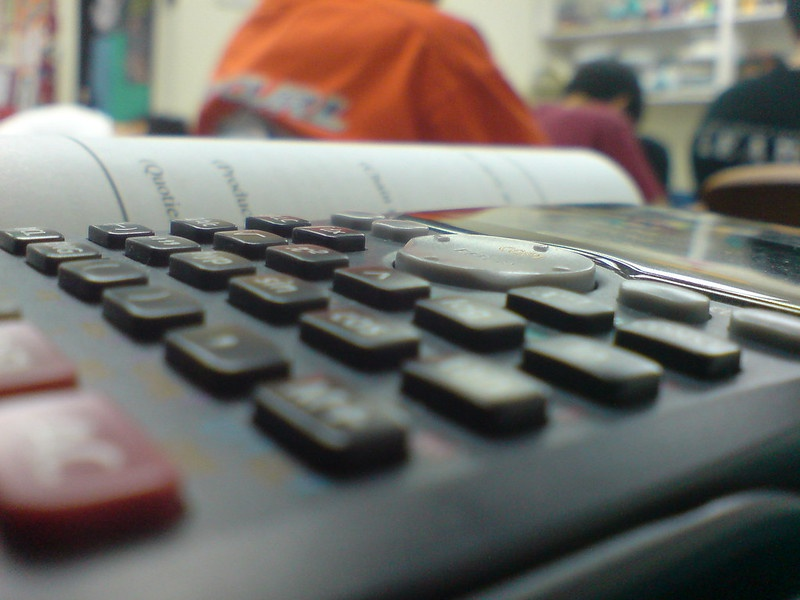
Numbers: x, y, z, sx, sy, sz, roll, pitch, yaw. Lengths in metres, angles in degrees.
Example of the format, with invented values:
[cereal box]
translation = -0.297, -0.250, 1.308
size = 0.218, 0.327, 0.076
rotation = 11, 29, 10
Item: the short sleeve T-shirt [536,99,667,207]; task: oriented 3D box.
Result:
[short sleeve T-shirt]
translation = 0.362, -0.261, 1.046
size = 0.228, 0.160, 0.200
rotation = 13, 27, 34
